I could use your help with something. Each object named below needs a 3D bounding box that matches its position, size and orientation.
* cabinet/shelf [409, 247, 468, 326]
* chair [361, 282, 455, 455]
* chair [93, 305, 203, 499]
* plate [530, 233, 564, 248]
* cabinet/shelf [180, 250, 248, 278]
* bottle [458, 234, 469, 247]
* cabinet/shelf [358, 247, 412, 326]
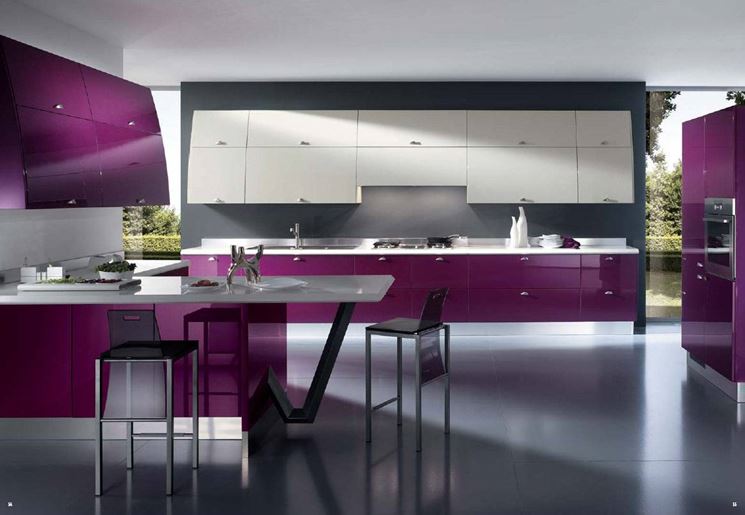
[{"bbox_3d":[0.820,0.284,7.337,1.051,0.990,0.692,0,1,3],"label":"cabinet/shelf"},{"bbox_3d":[0.276,0.854,4.654,0.859,1.088,0.852,-2,-2,15],"label":"chair"},{"bbox_3d":[-1.588,0.939,4.146,0.747,1.246,0.663,-4,12,-17],"label":"chair"},{"bbox_3d":[2.145,-0.202,7.359,0.333,0.167,0.437,-2,12,-5],"label":"plate"},{"bbox_3d":[-2.003,0.065,6.973,0.639,0.411,0.415,0,-2,3],"label":"cabinet/shelf"},{"bbox_3d":[1.142,-0.199,7.560,0.132,0.120,0.128,0,5,8],"label":"bottle"},{"bbox_3d":[0.332,0.378,7.332,0.926,0.892,0.722,-2,-6,7],"label":"cabinet/shelf"}]
